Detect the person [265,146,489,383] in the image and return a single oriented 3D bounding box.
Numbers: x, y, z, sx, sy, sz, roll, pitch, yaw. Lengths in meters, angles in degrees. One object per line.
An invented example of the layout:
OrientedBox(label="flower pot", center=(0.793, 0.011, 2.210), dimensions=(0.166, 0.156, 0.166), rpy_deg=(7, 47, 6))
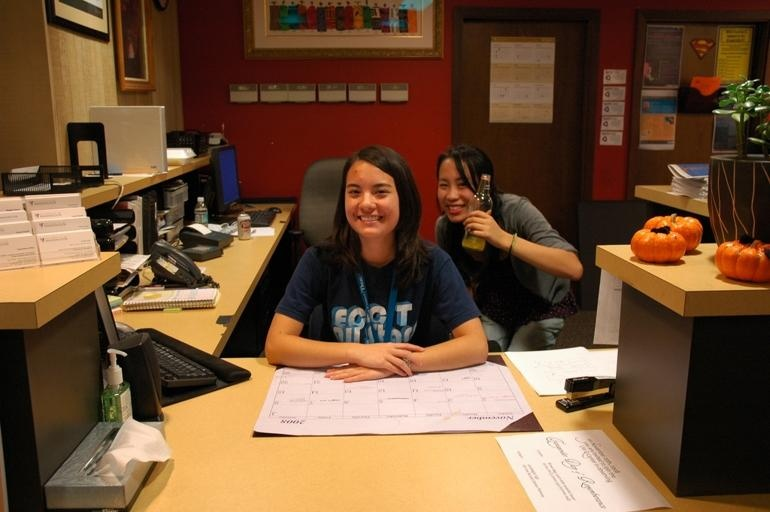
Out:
OrientedBox(label="person", center=(-0.022, 0.094, 2.003), dimensions=(0.983, 1.067, 0.702), rpy_deg=(-1, 7, -3))

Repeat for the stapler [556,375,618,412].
OrientedBox(label="stapler", center=(0.595, 0.382, 1.571), dimensions=(0.223, 0.085, 0.061), rpy_deg=(-5, 14, -23))

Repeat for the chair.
OrientedBox(label="chair", center=(-0.461, -0.340, 4.029), dimensions=(0.403, 0.756, 0.440), rpy_deg=(-1, 12, -5))

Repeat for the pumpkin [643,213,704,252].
OrientedBox(label="pumpkin", center=(0.771, -0.064, 1.469), dimensions=(0.121, 0.094, 0.121), rpy_deg=(1, 1, 1))

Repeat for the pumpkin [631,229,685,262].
OrientedBox(label="pumpkin", center=(0.689, -0.027, 1.392), dimensions=(0.100, 0.068, 0.098), rpy_deg=(-6, 17, -8))

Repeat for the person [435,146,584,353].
OrientedBox(label="person", center=(0.564, 0.014, 2.524), dimensions=(0.553, 1.068, 0.515), rpy_deg=(-3, 9, -17))
